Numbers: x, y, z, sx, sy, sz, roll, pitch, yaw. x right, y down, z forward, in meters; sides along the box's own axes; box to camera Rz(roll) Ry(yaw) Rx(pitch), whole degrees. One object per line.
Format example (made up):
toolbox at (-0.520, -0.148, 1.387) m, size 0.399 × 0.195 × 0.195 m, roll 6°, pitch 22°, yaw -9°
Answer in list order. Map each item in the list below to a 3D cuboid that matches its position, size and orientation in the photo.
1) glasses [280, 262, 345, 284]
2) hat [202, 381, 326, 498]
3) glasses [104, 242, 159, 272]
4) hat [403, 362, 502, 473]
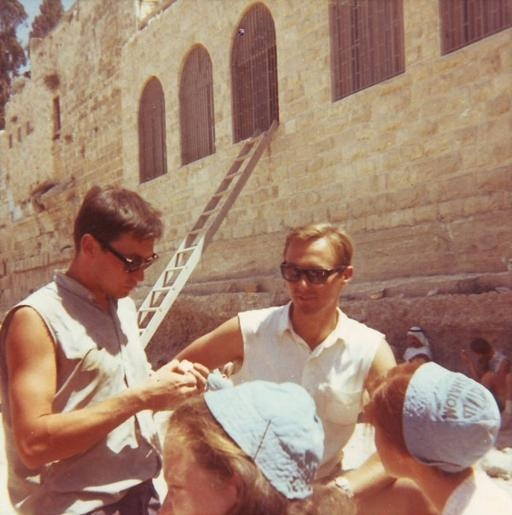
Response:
glasses at (0.250, 0.063, 2.664) m, size 0.283 × 0.080 × 0.187 m, roll -2°, pitch 0°, yaw 3°
hat at (0.014, 0.549, 1.701) m, size 0.282 × 0.128 × 0.299 m, roll 33°, pitch 18°, yaw -16°
glasses at (-0.504, -0.008, 2.395) m, size 0.116 × 0.040 × 0.120 m, roll 39°, pitch 11°, yaw 13°
hat at (0.574, 0.471, 1.896) m, size 0.279 × 0.277 × 0.244 m, roll 18°, pitch 43°, yaw 32°
